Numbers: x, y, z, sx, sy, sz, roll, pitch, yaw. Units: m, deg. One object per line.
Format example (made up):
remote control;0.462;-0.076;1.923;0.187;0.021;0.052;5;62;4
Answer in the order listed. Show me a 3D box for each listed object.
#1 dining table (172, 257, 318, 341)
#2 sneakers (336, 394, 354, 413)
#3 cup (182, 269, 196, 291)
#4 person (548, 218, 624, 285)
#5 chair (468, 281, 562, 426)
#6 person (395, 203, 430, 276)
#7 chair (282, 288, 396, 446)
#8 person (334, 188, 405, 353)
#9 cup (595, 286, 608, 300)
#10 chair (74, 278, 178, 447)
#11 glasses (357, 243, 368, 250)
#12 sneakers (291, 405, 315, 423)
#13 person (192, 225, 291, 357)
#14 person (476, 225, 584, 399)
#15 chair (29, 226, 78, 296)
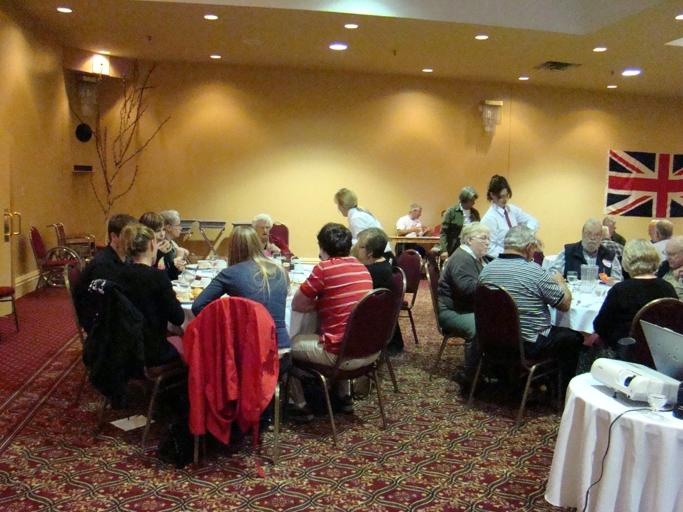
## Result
dining table;-0.649;0.489;3.345;0.733;0.557;0.503;15;-27;-17
sneakers;0.035;1.077;3.712;0.084;0.100;0.146;1;-6;-3
cup;-1.230;0.204;4.118;0.140;0.208;0.127;0;4;-9
person;2.283;-0.002;4.774;0.718;0.602;0.445;5;10;10
chair;1.287;0.646;3.786;0.655;0.970;0.666;8;12;37
person;1.211;-0.309;9.390;0.450;1.305;0.496;21;30;22
chair;-0.017;0.691;3.559;0.608;1.009;0.702;-1;7;-40
person;0.199;0.021;5.753;0.687;1.525;0.542;-1;12;-1
cup;2.074;0.288;4.066;0.110;0.084;0.112;-3;3;0
chair;-1.328;0.651;3.272;0.576;1.063;0.384;-3;11;-21
glasses;0.171;-0.075;4.029;0.048;0.037;0.049;-2;6;-17
sneakers;-0.276;1.098;3.589;0.179;0.125;0.085;0;-1;13
person;-0.666;0.221;3.513;0.594;0.829;0.564;0;12;-1
person;1.443;0.464;3.902;0.709;1.283;0.635;-3;2;-21
chair;-4.048;0.044;7.334;0.720;0.916;0.764;8;8;42
